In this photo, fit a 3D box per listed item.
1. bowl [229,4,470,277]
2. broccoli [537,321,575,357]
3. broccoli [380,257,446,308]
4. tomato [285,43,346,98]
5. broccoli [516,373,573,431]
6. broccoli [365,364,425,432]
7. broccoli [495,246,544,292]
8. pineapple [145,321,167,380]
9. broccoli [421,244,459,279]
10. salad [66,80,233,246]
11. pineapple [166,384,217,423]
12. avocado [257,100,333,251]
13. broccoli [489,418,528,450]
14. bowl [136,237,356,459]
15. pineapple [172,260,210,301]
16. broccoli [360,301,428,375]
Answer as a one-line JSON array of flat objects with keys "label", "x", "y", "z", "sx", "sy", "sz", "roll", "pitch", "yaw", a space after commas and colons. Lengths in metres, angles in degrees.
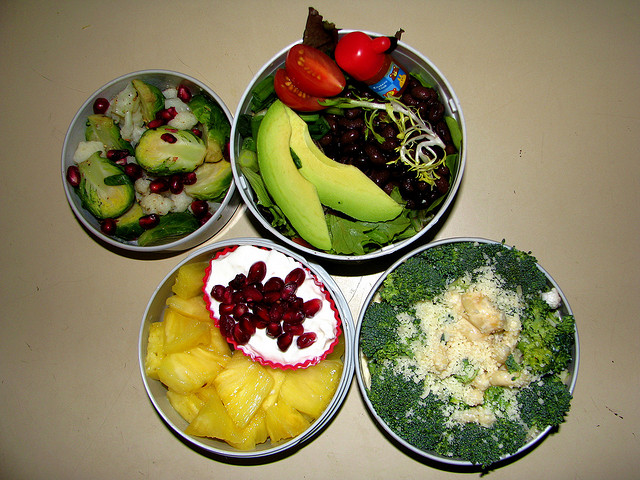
[{"label": "bowl", "x": 0.128, "y": -0.490, "z": 2.877, "sx": 1.150, "sy": 0.561, "sz": 1.120, "roll": 1, "pitch": 75, "yaw": -3}, {"label": "broccoli", "x": 1.116, "y": 0.414, "z": 2.799, "sx": 0.150, "sy": 0.243, "sz": 0.078, "roll": -5, "pitch": 21, "yaw": 17}, {"label": "broccoli", "x": 0.440, "y": 0.210, "z": 2.833, "sx": 0.295, "sy": 0.093, "sz": 0.221, "roll": -25, "pitch": 78, "yaw": -9}, {"label": "tomato", "x": -0.021, "y": -0.826, "z": 2.864, "sx": 0.297, "sy": 0.104, "sz": 0.202, "roll": 17, "pitch": 75, "yaw": 1}, {"label": "broccoli", "x": 1.044, "y": 0.775, "z": 2.770, "sx": 0.224, "sy": 0.099, "sz": 0.249, "roll": -17, "pitch": 85, "yaw": -3}, {"label": "broccoli", "x": 0.340, "y": 0.712, "z": 2.896, "sx": 0.261, "sy": 0.279, "sz": 0.320, "roll": -15, "pitch": 25, "yaw": -8}, {"label": "broccoli", "x": 0.930, "y": 0.135, "z": 2.752, "sx": 0.186, "sy": 0.051, "sz": 0.187, "roll": 43, "pitch": 88, "yaw": 0}, {"label": "pineapple", "x": -0.812, "y": 0.544, "z": 2.912, "sx": 0.055, "sy": 0.146, "sz": 0.279, "roll": 5, "pitch": 90, "yaw": -31}, {"label": "broccoli", "x": 0.588, "y": 0.084, "z": 2.780, "sx": 0.131, "sy": 0.043, "sz": 0.151, "roll": -25, "pitch": 75, "yaw": -5}, {"label": "salad", "x": -0.842, "y": -0.454, "z": 3.275, "sx": 0.814, "sy": 0.311, "sz": 0.849, "roll": -35, "pitch": 96, "yaw": 6}, {"label": "pineapple", "x": -0.610, "y": 0.790, "z": 2.859, "sx": 0.184, "sy": 0.133, "sz": 0.250, "roll": -5, "pitch": 22, "yaw": 4}, {"label": "avocado", "x": -0.152, "y": -0.283, "z": 2.887, "sx": 0.212, "sy": 0.165, "sz": 0.743, "roll": -21, "pitch": 78, "yaw": -8}, {"label": "broccoli", "x": 0.885, "y": 0.913, "z": 2.799, "sx": 0.149, "sy": 0.066, "sz": 0.124, "roll": 42, "pitch": 81, "yaw": -4}, {"label": "bowl", "x": -0.352, "y": 0.516, "z": 2.888, "sx": 1.082, "sy": 0.398, "sz": 1.040, "roll": 1, "pitch": 75, "yaw": -3}, {"label": "pineapple", "x": -0.628, "y": 0.188, "z": 2.874, "sx": 0.137, "sy": 0.192, "sz": 0.112, "roll": -24, "pitch": 31, "yaw": -34}, {"label": "broccoli", "x": 0.351, "y": 0.441, "z": 2.822, "sx": 0.304, "sy": 0.098, "sz": 0.285, "roll": 1, "pitch": 75, "yaw": -3}]
